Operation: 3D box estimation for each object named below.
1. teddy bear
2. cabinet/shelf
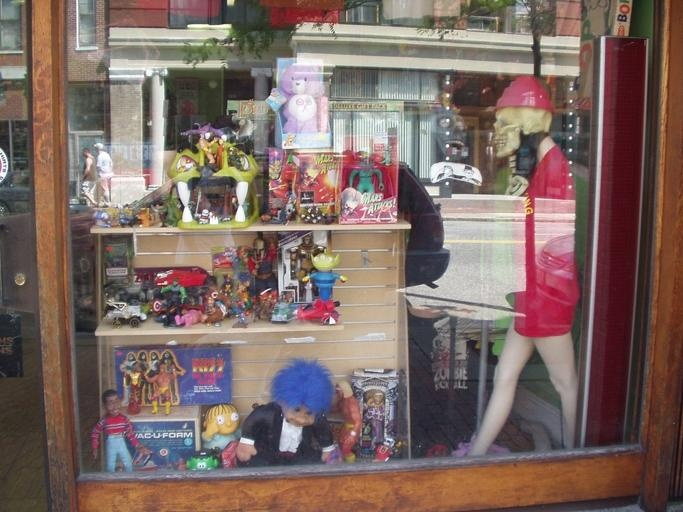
[{"bbox_3d":[-0.228,-0.812,4.970,0.333,0.474,0.131,1,2,0],"label":"teddy bear"},{"bbox_3d":[-0.559,0.423,5.029,1.195,1.154,0.419,0,0,-4],"label":"cabinet/shelf"}]
